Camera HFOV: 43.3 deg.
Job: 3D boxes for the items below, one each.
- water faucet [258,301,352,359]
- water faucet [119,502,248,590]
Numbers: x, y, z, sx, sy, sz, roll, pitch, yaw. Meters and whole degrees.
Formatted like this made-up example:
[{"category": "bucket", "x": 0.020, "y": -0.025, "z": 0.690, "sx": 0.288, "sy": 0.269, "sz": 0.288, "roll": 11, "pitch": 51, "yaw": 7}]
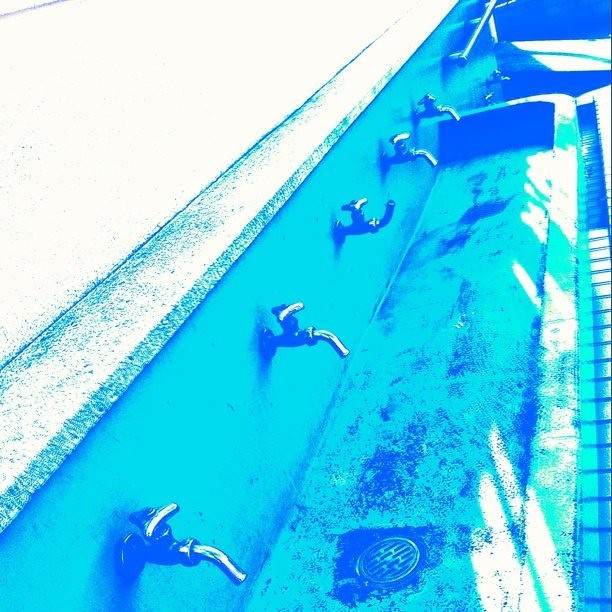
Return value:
[{"category": "water faucet", "x": -0.010, "y": 0.059, "z": 1.857, "sx": 0.064, "sy": 0.151, "sz": 0.172, "roll": 5, "pitch": -18, "yaw": 34}, {"category": "water faucet", "x": -0.206, "y": 0.428, "z": 1.424, "sx": 0.205, "sy": 0.125, "sz": 0.121, "roll": 13, "pitch": -25, "yaw": 35}]
